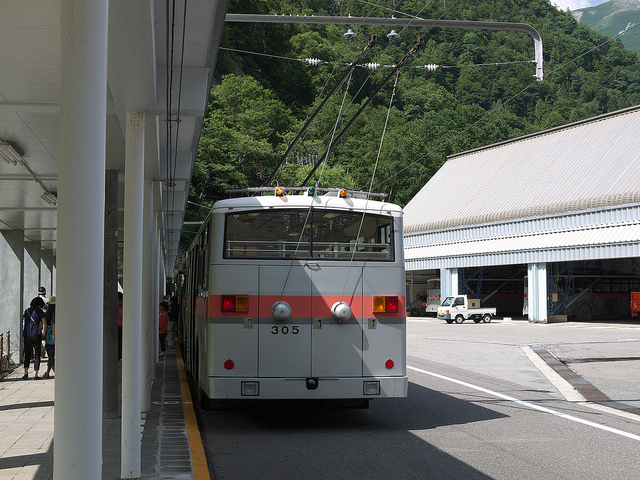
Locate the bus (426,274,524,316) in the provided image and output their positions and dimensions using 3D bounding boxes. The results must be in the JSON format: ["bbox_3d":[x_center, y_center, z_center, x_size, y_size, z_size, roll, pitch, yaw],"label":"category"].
[{"bbox_3d":[15.900,5.249,55.952,2.753,3.369,9.884,10,-7,-20],"label":"bus"}]

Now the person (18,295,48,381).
[{"bbox_3d":[-7.236,2.443,15.819,0.558,2.084,0.593,-2,-10,-12],"label":"person"}]
